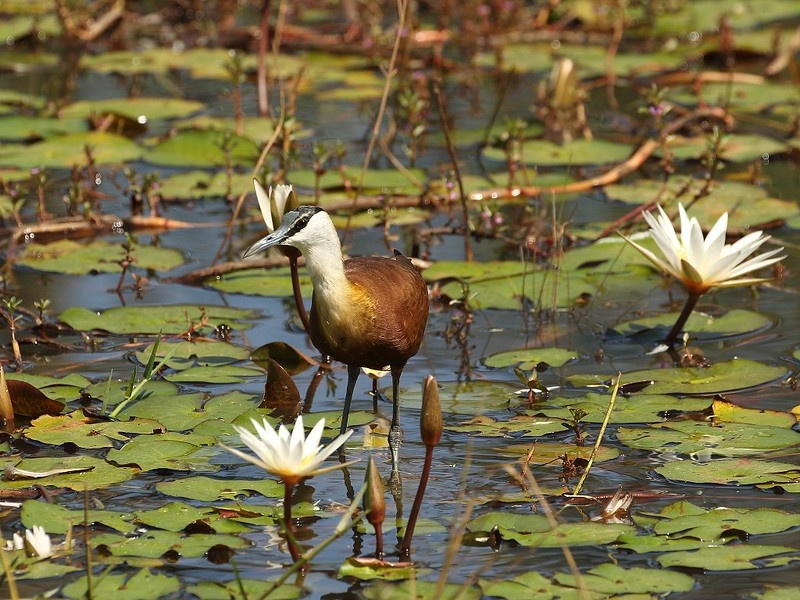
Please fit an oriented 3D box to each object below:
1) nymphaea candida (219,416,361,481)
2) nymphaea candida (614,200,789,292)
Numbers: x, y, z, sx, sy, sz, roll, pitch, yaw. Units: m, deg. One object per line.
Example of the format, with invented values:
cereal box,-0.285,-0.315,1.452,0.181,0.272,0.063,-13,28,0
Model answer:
nymphaea candida,-0.350,0.523,3.024,0.489,0.317,0.125,5,100,-5
nymphaea candida,1.496,-0.236,4.405,0.921,0.649,0.250,2,91,-21
